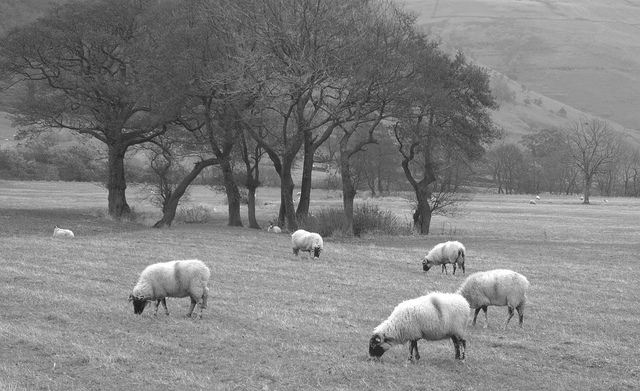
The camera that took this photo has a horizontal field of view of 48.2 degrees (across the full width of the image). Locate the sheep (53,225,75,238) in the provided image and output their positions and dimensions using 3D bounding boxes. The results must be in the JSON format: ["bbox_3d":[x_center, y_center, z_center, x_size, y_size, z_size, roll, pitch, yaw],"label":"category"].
[{"bbox_3d":[-21.688,3.174,60.180,1.634,0.709,2.136,1,1,-22],"label":"sheep"}]

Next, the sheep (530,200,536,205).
[{"bbox_3d":[38.282,1.262,129.067,0.740,0.927,1.578,2,7,-9],"label":"sheep"}]

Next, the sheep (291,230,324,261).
[{"bbox_3d":[-1.088,4.093,57.378,1.371,2.140,3.577,-1,8,-40],"label":"sheep"}]

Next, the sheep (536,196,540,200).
[{"bbox_3d":[43.409,0.566,142.871,0.645,1.076,1.377,1,-6,23],"label":"sheep"}]

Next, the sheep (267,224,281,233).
[{"bbox_3d":[-4.544,3.331,69.241,0.810,0.613,0.668,5,-3,16],"label":"sheep"}]
